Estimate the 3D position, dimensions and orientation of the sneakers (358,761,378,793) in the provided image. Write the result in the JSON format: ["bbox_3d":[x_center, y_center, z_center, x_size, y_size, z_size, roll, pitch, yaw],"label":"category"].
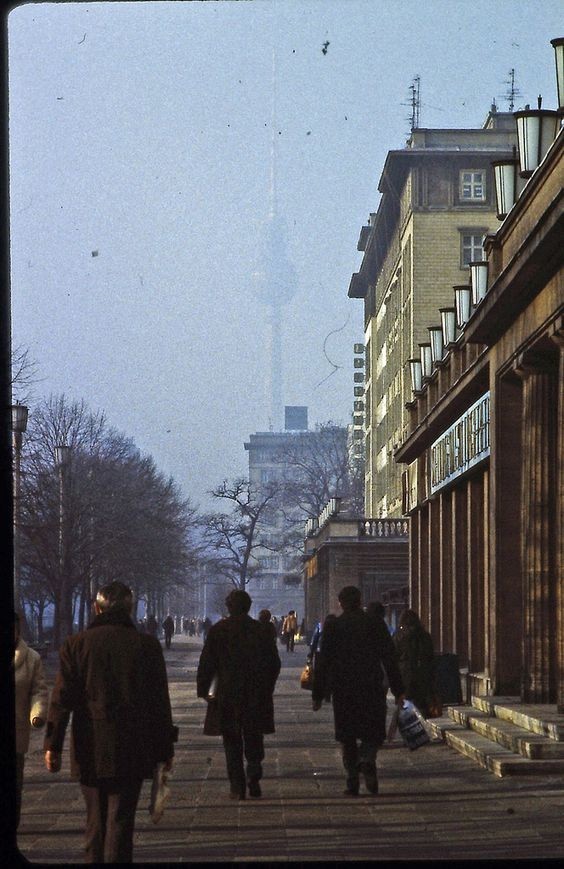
[{"bbox_3d":[0.635,2.601,12.162,0.077,0.352,0.204,-4,-11,7],"label":"sneakers"}]

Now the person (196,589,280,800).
[{"bbox_3d":[-0.334,1.968,12.270,0.601,1.612,0.725,0,-9,-1],"label":"person"}]

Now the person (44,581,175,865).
[{"bbox_3d":[-0.950,1.585,8.874,0.681,1.529,0.455,1,-8,-5],"label":"person"}]

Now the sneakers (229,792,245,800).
[{"bbox_3d":[-0.340,2.737,12.114,0.108,0.063,0.202,1,-12,-2],"label":"sneakers"}]

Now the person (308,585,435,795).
[{"bbox_3d":[0.615,2.065,12.869,0.691,1.650,1.694,0,-10,4],"label":"person"}]
